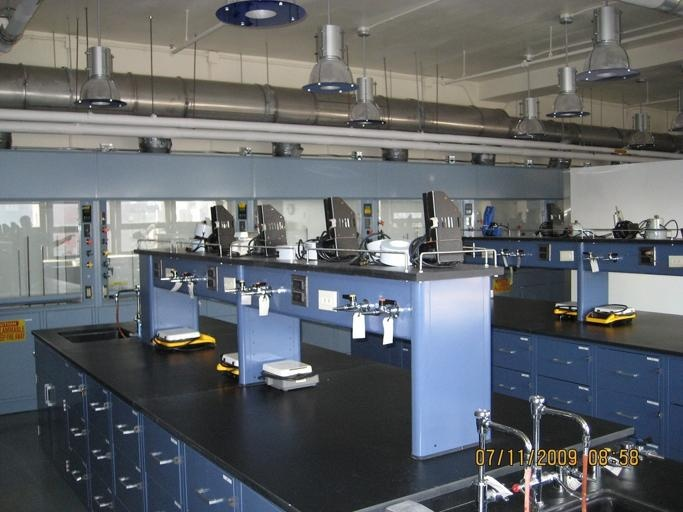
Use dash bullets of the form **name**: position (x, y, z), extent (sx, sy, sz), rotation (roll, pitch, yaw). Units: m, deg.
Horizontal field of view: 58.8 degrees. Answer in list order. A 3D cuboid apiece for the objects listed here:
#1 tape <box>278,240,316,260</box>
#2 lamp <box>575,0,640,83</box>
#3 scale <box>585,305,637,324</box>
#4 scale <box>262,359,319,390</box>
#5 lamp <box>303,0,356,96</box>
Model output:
- **tape**: position (-0.244, -0.030, 3.397), extent (0.218, 0.090, 0.332), rotation (0, 8, -6)
- **lamp**: position (1.788, -1.474, 4.304), extent (0.462, 0.557, 0.512), rotation (-8, 9, -44)
- **scale**: position (2.176, 0.462, 4.863), extent (0.459, 0.128, 0.223), rotation (-4, 10, -29)
- **scale**: position (-0.308, 0.686, 3.513), extent (0.325, 0.132, 0.215), rotation (4, 9, 21)
- **lamp**: position (-0.078, -1.423, 4.345), extent (0.372, 0.451, 0.384), rotation (0, 8, -3)
